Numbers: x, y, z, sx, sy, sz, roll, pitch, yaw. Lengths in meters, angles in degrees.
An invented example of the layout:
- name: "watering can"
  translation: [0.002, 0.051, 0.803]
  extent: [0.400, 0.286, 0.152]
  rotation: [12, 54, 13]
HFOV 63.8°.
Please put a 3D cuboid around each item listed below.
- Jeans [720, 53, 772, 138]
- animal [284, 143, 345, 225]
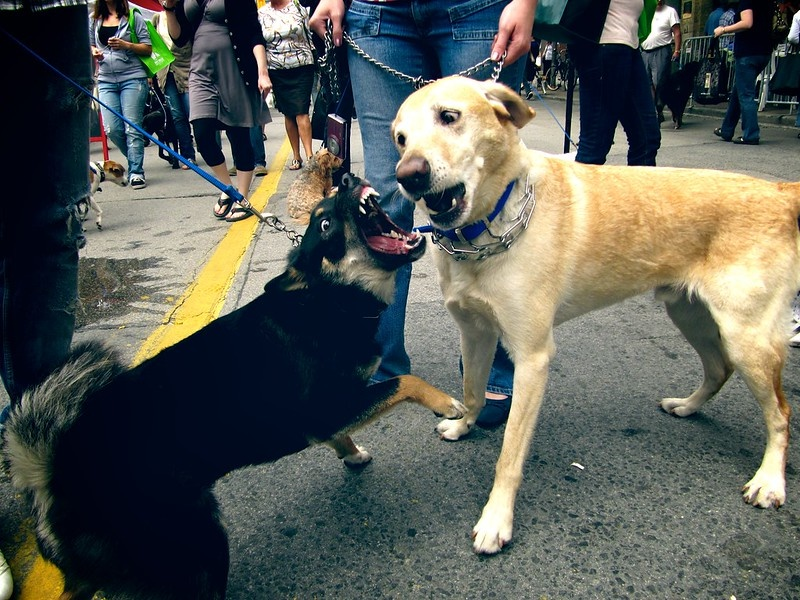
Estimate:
- name: "Jeans"
  translation: [4.981, -2.623, 9.265]
  extent: [0.472, 1.317, 0.524]
  rotation: [-4, 20, 5]
- name: "animal"
  translation: [-0.395, -0.433, 3.186]
  extent: [0.186, 0.274, 0.389]
  rotation: [15, 69, 28]
